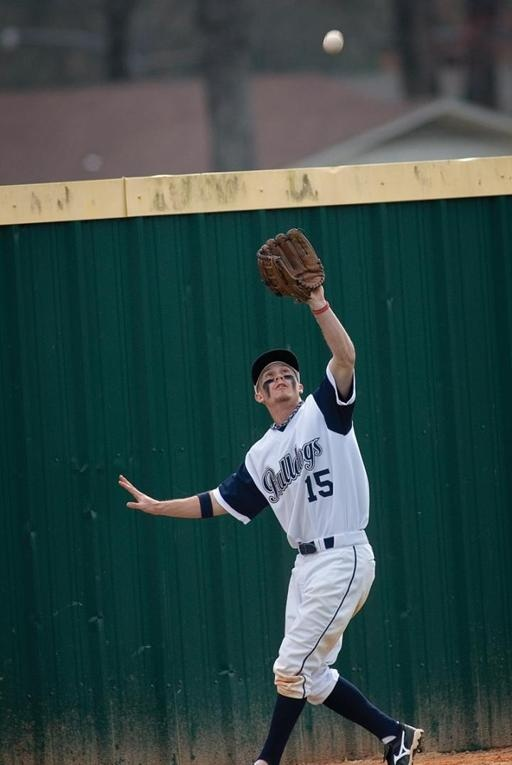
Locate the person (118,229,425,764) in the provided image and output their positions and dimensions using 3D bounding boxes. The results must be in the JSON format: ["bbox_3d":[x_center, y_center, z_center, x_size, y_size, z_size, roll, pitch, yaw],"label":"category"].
[{"bbox_3d":[0.217,0.640,8.182,0.741,2.588,1.059,-16,23,-23],"label":"person"}]

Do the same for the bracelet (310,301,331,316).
[{"bbox_3d":[0.309,-0.333,7.916,0.081,0.053,0.082,-13,25,-7],"label":"bracelet"}]

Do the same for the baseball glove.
[{"bbox_3d":[0.170,-0.523,7.952,0.325,0.306,0.163,12,29,38],"label":"baseball glove"}]
